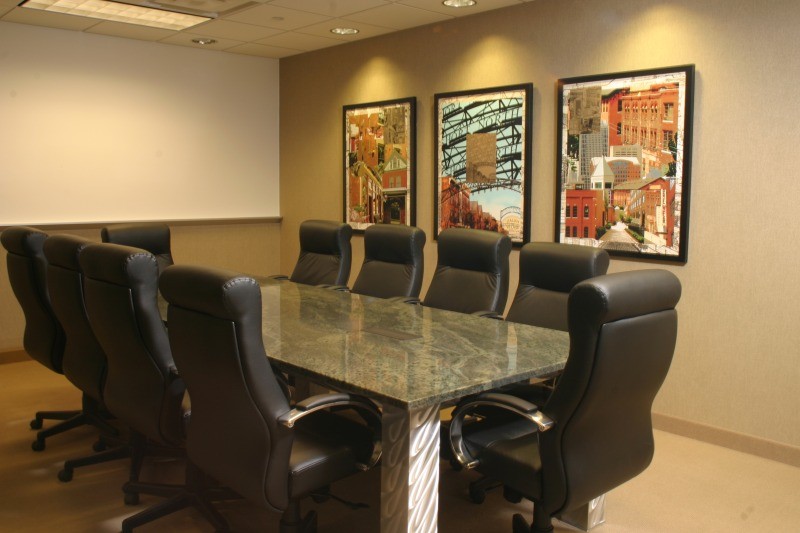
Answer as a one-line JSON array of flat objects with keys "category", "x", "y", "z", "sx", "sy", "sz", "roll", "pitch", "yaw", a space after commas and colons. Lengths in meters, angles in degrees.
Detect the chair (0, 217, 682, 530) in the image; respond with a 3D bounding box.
[{"category": "chair", "x": 0.063, "y": 0.812, "z": 3.463, "sx": 2.755, "sy": 1.737, "sz": 1.532, "roll": 4, "pitch": 11, "yaw": 20}]
